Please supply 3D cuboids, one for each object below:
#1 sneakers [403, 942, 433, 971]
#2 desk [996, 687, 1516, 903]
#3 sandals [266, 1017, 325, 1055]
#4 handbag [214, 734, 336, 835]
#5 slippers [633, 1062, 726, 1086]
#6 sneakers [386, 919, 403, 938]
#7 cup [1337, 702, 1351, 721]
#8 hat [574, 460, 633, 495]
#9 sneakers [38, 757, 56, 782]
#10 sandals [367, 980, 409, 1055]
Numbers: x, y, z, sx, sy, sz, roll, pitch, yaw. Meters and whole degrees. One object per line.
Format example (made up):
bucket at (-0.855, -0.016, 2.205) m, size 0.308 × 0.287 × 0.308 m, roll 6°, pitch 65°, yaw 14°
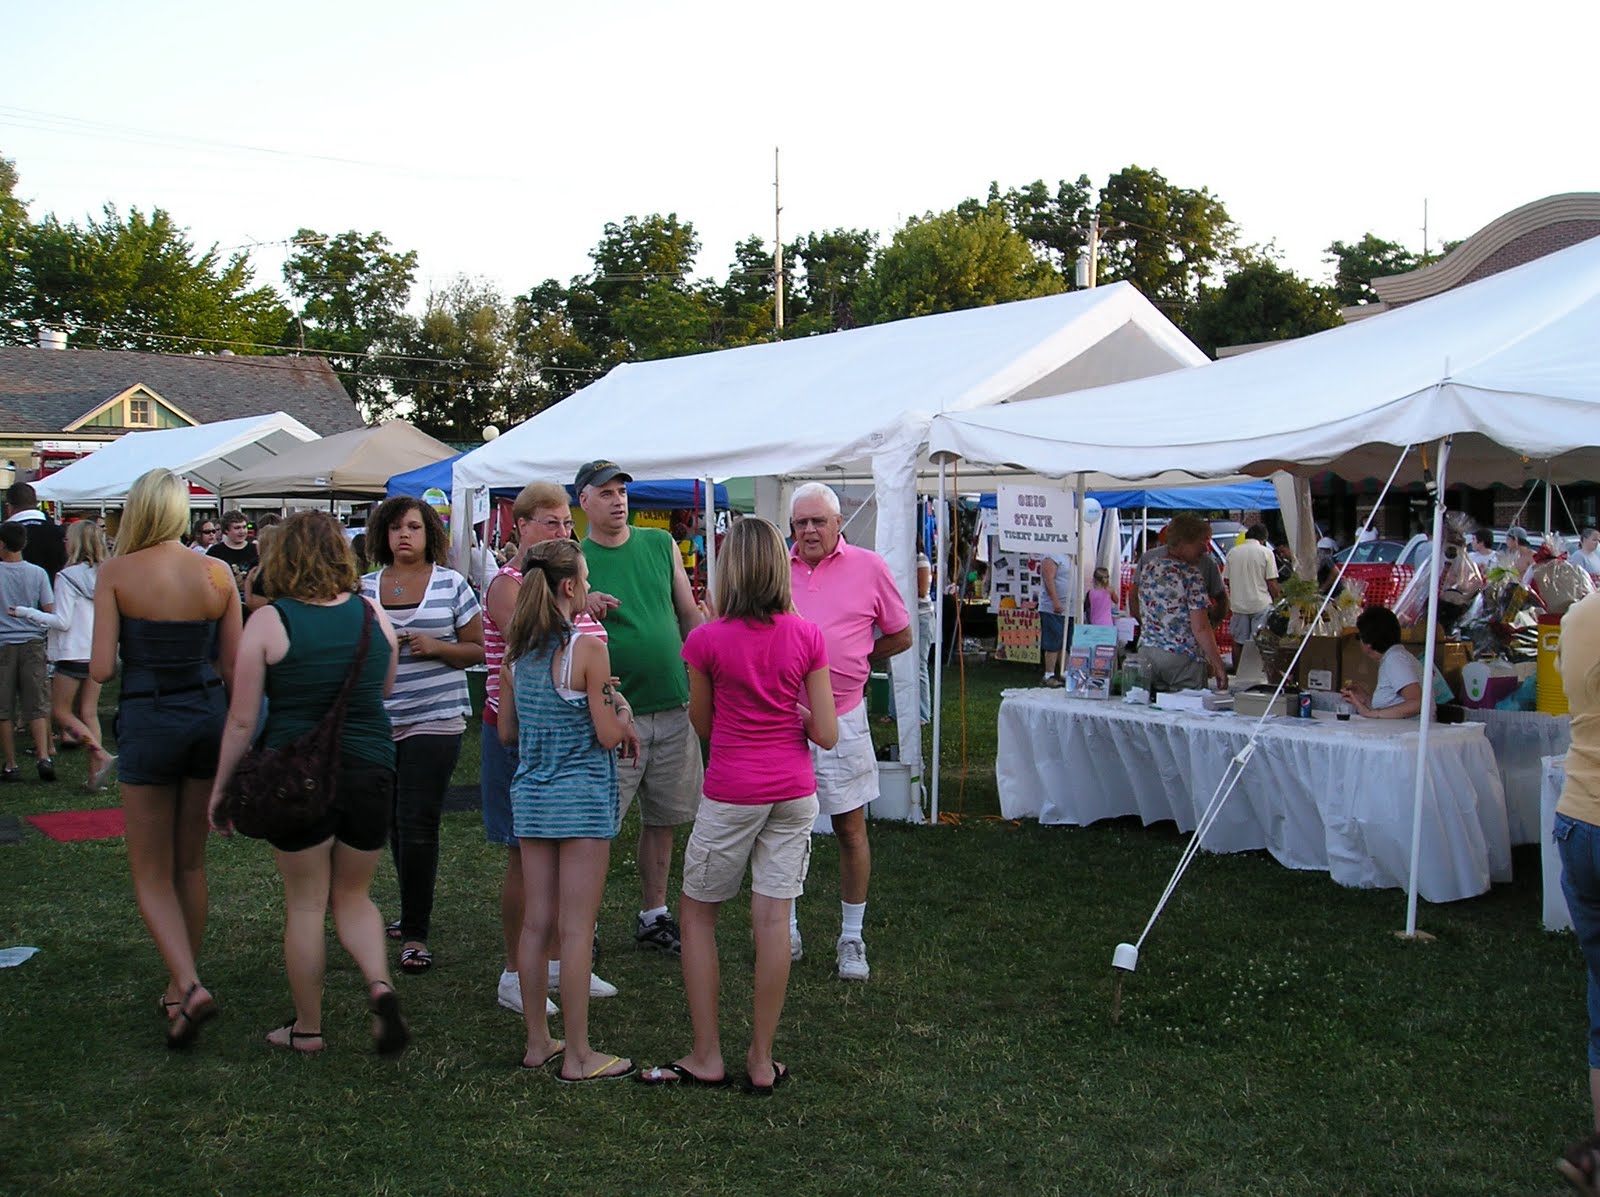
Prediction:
sneakers at (-1.731, 1.617, 7.532) m, size 0.067 × 0.086 × 0.175 m, roll 4°, pitch -12°, yaw -24°
desk at (2.435, 0.995, 9.247) m, size 2.690 × 1.011 × 0.619 m, roll 11°, pitch 15°, yaw 43°
sandals at (-2.053, 1.763, 6.768) m, size 0.196 × 0.093 × 0.118 m, roll 12°, pitch -2°, yaw 33°
handbag at (-2.051, 0.733, 6.532) m, size 0.399 × 0.430 × 0.303 m, roll 9°, pitch -14°, yaw -27°
slippers at (-0.478, 1.874, 6.549) m, size 0.269 × 0.075 × 0.139 m, roll 8°, pitch -14°, yaw -5°
sneakers at (-1.918, 1.554, 7.908) m, size 0.070 × 0.071 × 0.247 m, roll 1°, pitch -1°, yaw -14°
cup at (2.876, 0.599, 8.860) m, size 0.062 × 0.078 × 0.095 m, roll 0°, pitch -3°, yaw 19°
hat at (-0.892, -0.523, 7.152) m, size 0.152 × 0.093 × 0.207 m, roll -3°, pitch -2°, yaw -45°
sneakers at (-5.082, 1.163, 11.270) m, size 0.078 × 0.107 × 0.215 m, roll 0°, pitch -8°, yaw -27°
sandals at (-1.599, 1.632, 6.472) m, size 0.111 × 0.296 × 0.125 m, roll -12°, pitch -16°, yaw -8°
